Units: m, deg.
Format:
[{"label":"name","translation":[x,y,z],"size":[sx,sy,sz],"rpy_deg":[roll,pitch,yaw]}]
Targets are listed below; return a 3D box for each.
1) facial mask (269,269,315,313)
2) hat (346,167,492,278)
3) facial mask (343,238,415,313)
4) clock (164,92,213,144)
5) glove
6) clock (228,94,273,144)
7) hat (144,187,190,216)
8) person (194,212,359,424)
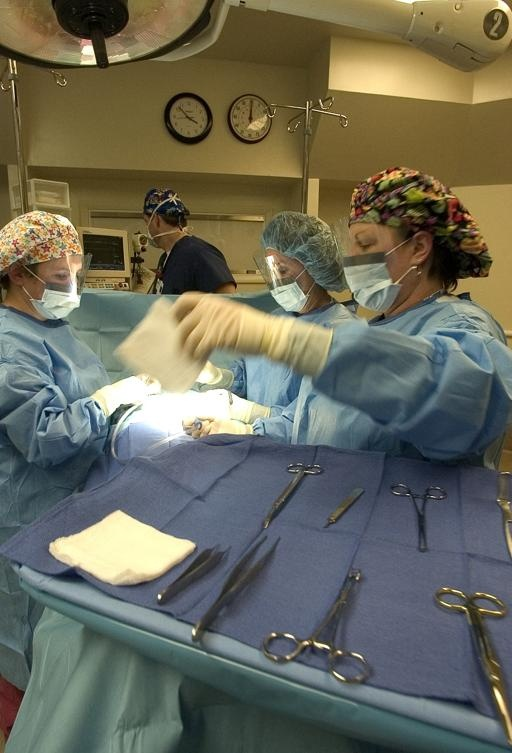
[{"label":"facial mask","translation":[0.133,-0.294,1.914],"size":[0.117,0.074,0.097],"rpy_deg":[-41,22,-8]},{"label":"hat","translation":[0.410,-0.348,1.322],"size":[0.301,0.144,0.268],"rpy_deg":[27,9,-19]},{"label":"facial mask","translation":[0.320,-0.248,1.399],"size":[0.154,0.095,0.133],"rpy_deg":[-35,16,6]},{"label":"clock","translation":[-0.482,-1.872,4.049],"size":[0.350,0.329,0.031],"rpy_deg":[-7,24,-24]},{"label":"glove","translation":[-0.051,-0.065,1.065],"size":[0.407,0.181,0.174],"rpy_deg":[4,12,24]},{"label":"clock","translation":[-0.041,-1.928,4.164],"size":[0.335,0.368,0.104],"rpy_deg":[-5,12,-19]},{"label":"hat","translation":[-0.421,-0.834,2.662],"size":[0.183,0.109,0.133],"rpy_deg":[9,24,0]},{"label":"person","translation":[0.116,-0.220,2.329],"size":[0.756,1.025,0.681],"rpy_deg":[3,6,-3]}]
